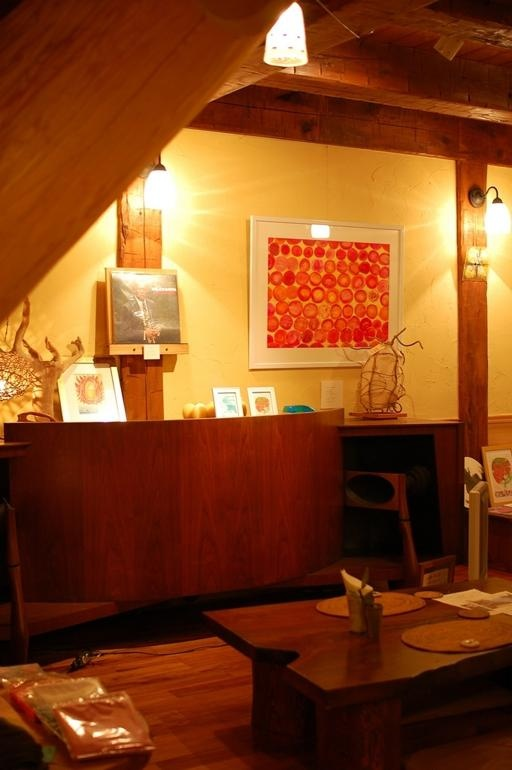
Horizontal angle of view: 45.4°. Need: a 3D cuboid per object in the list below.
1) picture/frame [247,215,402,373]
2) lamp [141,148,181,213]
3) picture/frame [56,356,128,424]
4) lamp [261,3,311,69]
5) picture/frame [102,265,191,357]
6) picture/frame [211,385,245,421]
[{"bbox_3d":[0.452,-0.674,4.490,1.116,1.021,0.041,-3,4,-24],"label":"picture/frame"},{"bbox_3d":[-0.587,-1.287,3.744,0.166,0.364,0.175,-1,2,18],"label":"lamp"},{"bbox_3d":[-0.984,0.047,3.645,0.358,0.450,0.033,-2,23,-2],"label":"picture/frame"},{"bbox_3d":[0.115,-1.519,2.619,0.173,0.254,0.312,-4,-4,2],"label":"lamp"},{"bbox_3d":[-0.719,-0.464,3.860,0.555,0.653,0.144,-3,0,-33],"label":"picture/frame"},{"bbox_3d":[-0.192,0.119,3.941,0.197,0.237,0.018,7,-35,-37],"label":"picture/frame"}]
